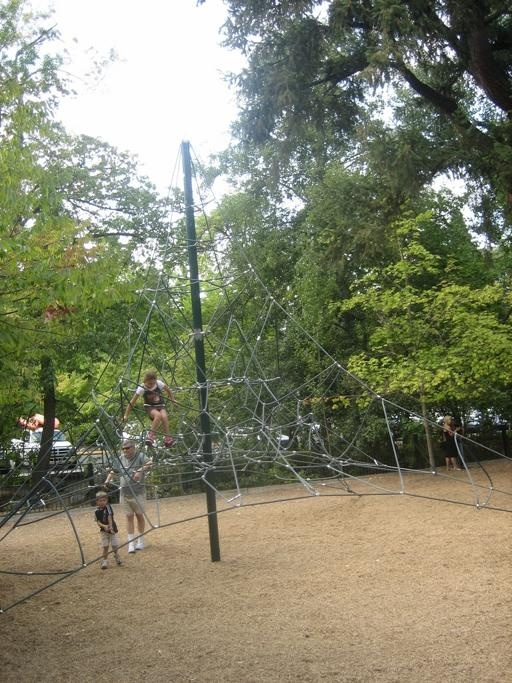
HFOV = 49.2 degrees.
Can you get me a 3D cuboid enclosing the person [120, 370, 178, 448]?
[{"bbox_3d":[-1.312,0.851,7.147,0.761,0.954,0.598,-6,7,-17],"label":"person"}]
